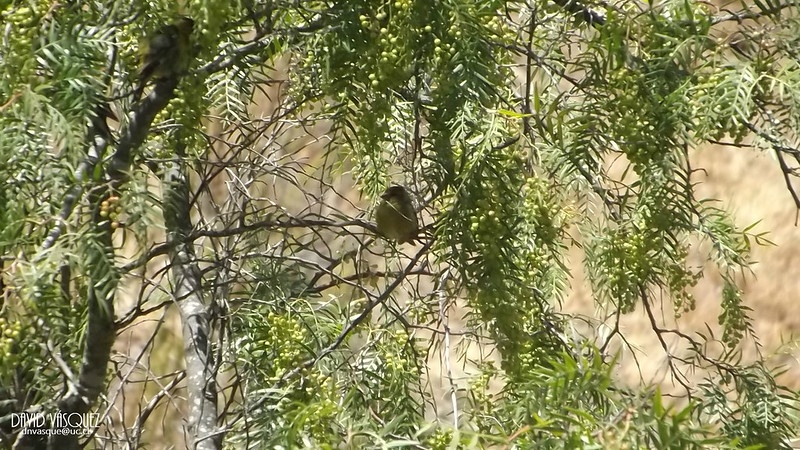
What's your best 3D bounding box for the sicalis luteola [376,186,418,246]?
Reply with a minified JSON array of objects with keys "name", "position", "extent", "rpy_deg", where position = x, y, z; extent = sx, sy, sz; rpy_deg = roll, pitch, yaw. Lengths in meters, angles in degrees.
[{"name":"sicalis luteola","position":[-0.005,-0.058,4.322],"extent":[0.157,0.258,0.244],"rpy_deg":[4,-26,-2]}]
